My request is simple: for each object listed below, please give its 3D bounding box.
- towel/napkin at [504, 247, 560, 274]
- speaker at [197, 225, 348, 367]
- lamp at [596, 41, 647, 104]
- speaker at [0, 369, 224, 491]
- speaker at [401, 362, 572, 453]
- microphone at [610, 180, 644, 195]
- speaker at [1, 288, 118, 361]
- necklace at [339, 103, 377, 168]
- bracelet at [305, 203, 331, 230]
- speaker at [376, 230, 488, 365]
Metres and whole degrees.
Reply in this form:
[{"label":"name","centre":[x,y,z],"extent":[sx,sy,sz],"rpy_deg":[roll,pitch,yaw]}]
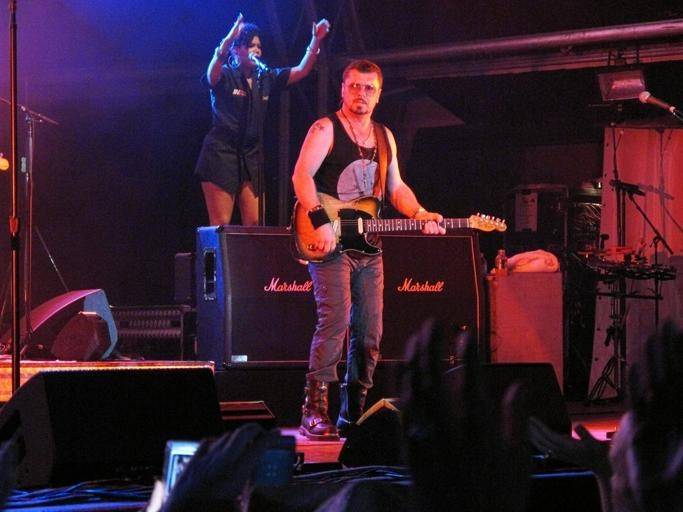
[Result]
[{"label":"towel/napkin","centre":[1.603,0.059,6.456],"extent":[0.521,0.194,0.321],"rpy_deg":[-1,-4,-3]},{"label":"speaker","centre":[-0.567,0.304,5.484],"extent":[0.970,1.128,0.645],"rpy_deg":[0,-3,-19]},{"label":"lamp","centre":[2.519,-1.609,6.818],"extent":[0.392,0.476,0.364],"rpy_deg":[-3,-4,28]},{"label":"speaker","centre":[-0.888,0.624,2.885],"extent":[0.616,0.345,0.495],"rpy_deg":[1,13,-23]},{"label":"speaker","centre":[0.438,0.470,2.299],"extent":[0.408,0.421,0.319],"rpy_deg":[1,-11,-15]},{"label":"microphone","centre":[2.791,-0.645,7.456],"extent":[0.291,0.197,0.518],"rpy_deg":[-2,-4,19]},{"label":"speaker","centre":[-2.213,0.641,6.061],"extent":[0.747,0.601,0.346],"rpy_deg":[-13,-36,-14]},{"label":"necklace","centre":[0.107,-0.699,4.465],"extent":[0.159,0.325,0.071],"rpy_deg":[-18,3,-23]},{"label":"bracelet","centre":[-0.120,-0.206,4.293],"extent":[0.128,0.137,0.087],"rpy_deg":[-1,-4,-2]},{"label":"speaker","centre":[0.531,0.348,5.714],"extent":[0.974,1.042,0.746],"rpy_deg":[0,-6,-5]}]
